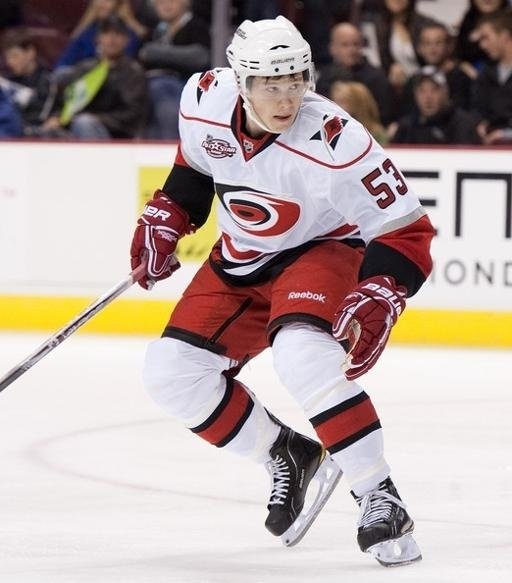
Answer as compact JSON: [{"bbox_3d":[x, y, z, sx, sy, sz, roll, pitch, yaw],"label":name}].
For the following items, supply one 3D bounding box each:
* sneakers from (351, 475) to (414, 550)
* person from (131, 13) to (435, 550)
[{"bbox_3d":[0.284,0.505,1.653,0.129,0.148,0.114,-1,9,6],"label":"sneakers"},{"bbox_3d":[0.038,-0.033,1.894,0.522,1.298,0.926,-11,12,-42],"label":"person"}]
